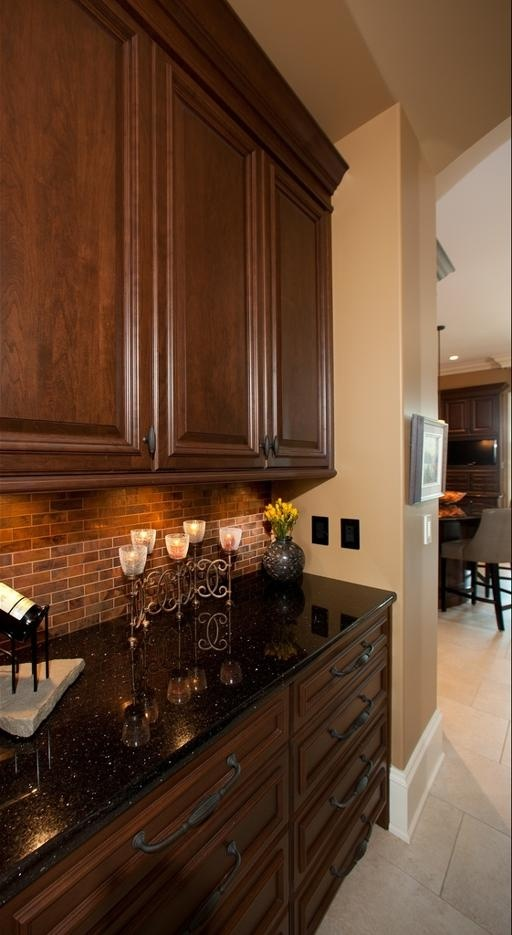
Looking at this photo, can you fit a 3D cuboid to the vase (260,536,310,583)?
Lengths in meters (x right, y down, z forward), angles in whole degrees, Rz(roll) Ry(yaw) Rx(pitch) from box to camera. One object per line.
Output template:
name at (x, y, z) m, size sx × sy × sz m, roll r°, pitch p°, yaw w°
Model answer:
vase at (0.090, 0.304, 1.893) m, size 0.115 × 0.151 × 0.129 m, roll -5°, pitch -2°, yaw 29°

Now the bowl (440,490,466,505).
bowl at (1.568, 0.240, 4.648) m, size 0.227 × 0.096 × 0.256 m, roll -6°, pitch -11°, yaw 30°

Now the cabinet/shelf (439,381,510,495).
cabinet/shelf at (2.522, -0.316, 6.826) m, size 0.422 × 1.339 × 1.139 m, roll -1°, pitch 9°, yaw -18°

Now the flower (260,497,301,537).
flower at (0.097, 0.149, 2.051) m, size 0.119 × 0.198 × 0.123 m, roll 1°, pitch 0°, yaw 36°

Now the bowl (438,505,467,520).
bowl at (1.493, 0.340, 4.460) m, size 0.157 × 0.122 × 0.248 m, roll -5°, pitch -2°, yaw 13°
